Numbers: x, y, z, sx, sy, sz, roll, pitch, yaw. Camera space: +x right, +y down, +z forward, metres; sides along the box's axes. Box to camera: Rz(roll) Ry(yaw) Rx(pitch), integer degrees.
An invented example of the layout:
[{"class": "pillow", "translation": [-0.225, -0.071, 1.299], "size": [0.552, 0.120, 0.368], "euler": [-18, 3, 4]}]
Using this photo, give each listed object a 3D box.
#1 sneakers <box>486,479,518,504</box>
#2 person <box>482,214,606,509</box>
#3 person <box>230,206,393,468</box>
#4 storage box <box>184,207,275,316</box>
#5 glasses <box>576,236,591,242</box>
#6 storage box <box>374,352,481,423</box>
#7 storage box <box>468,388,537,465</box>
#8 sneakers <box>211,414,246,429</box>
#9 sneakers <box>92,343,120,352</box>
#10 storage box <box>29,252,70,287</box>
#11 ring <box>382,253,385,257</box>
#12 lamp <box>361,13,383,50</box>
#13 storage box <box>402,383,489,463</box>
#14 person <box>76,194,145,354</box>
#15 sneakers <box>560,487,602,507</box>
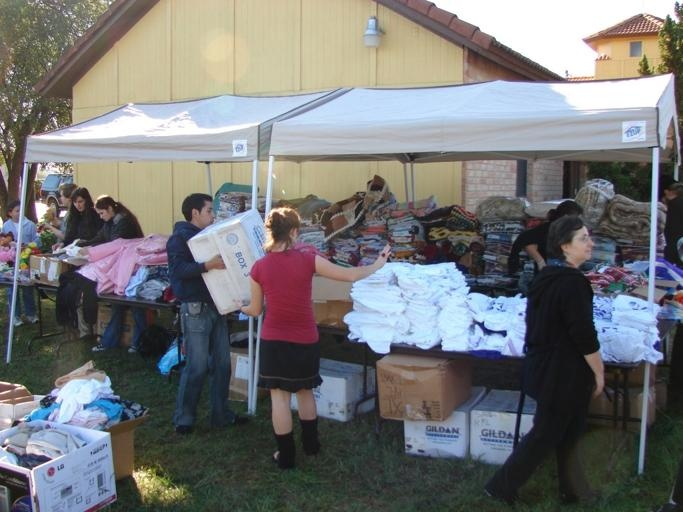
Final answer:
[{"class": "sneakers", "translation": [1.237, 1.826, 4.742], "size": [0.201, 0.159, 0.155], "euler": [43, 8, 19]}, {"class": "person", "translation": [1.575, 0.808, 4.619], "size": [0.756, 2.200, 0.393], "euler": [1, 11, 11]}, {"class": "person", "translation": [-0.221, 0.641, 5.375], "size": [1.181, 2.288, 0.720], "euler": [-4, 16, -10]}, {"class": "storage box", "translation": [-0.997, 0.067, 5.475], "size": [0.367, 0.557, 0.742], "euler": [-18, 13, 18]}, {"class": "glasses", "translation": [1.778, -0.135, 4.522], "size": [0.147, 0.045, 0.032], "euler": [-6, 13, -18]}, {"class": "storage box", "translation": [0.779, 1.066, 5.530], "size": [0.575, 0.492, 0.627], "euler": [1, 2, 27]}, {"class": "storage box", "translation": [1.416, 1.503, 5.336], "size": [0.331, 0.601, 0.541], "euler": [7, -1, -19]}, {"class": "sneakers", "translation": [-1.096, 1.593, 5.946], "size": [0.346, 0.183, 0.119], "euler": [11, -11, -29]}, {"class": "sneakers", "translation": [-3.046, 1.190, 7.996], "size": [0.296, 0.142, 0.108], "euler": [5, 1, -4]}, {"class": "storage box", "translation": [-3.747, 0.073, 7.910], "size": [0.489, 0.373, 0.374], "euler": [5, 4, 42]}, {"class": "ring", "translation": [0.357, -0.021, 5.206], "size": [0.028, 0.031, 0.007], "euler": [-1, 4, 9]}, {"class": "lamp", "translation": [0.502, -3.592, 9.766], "size": [0.391, 0.580, 0.398], "euler": [7, 24, 14]}, {"class": "storage box", "translation": [0.882, 1.494, 5.382], "size": [0.561, 0.469, 0.291], "euler": [-1, -4, 29]}, {"class": "person", "translation": [-2.895, 0.189, 8.023], "size": [0.853, 1.942, 0.704], "euler": [1, 11, 9]}, {"class": "sneakers", "translation": [1.860, 1.880, 4.787], "size": [0.186, 0.076, 0.150], "euler": [-2, -4, 11]}]
